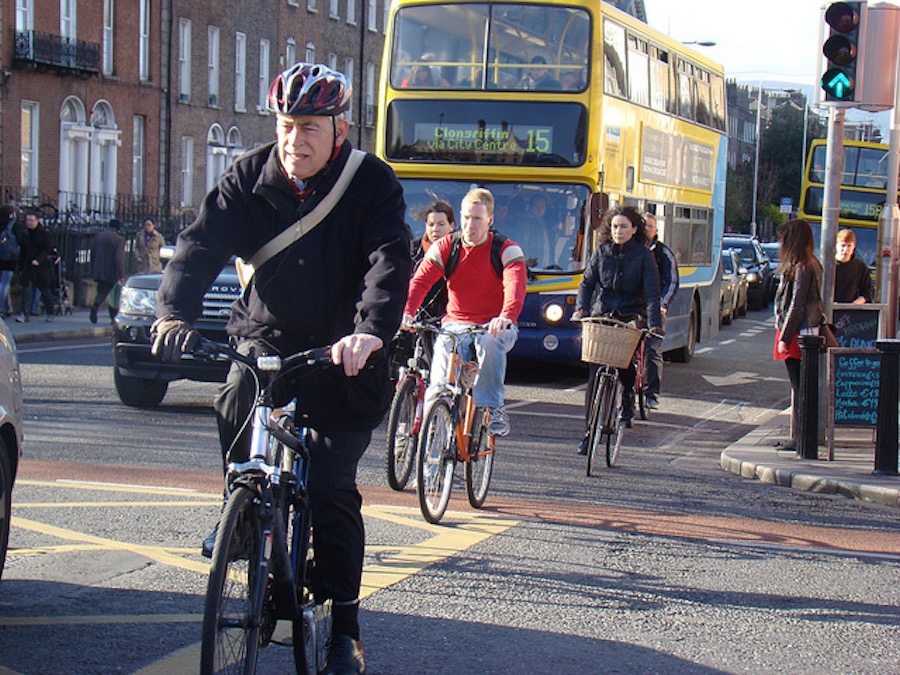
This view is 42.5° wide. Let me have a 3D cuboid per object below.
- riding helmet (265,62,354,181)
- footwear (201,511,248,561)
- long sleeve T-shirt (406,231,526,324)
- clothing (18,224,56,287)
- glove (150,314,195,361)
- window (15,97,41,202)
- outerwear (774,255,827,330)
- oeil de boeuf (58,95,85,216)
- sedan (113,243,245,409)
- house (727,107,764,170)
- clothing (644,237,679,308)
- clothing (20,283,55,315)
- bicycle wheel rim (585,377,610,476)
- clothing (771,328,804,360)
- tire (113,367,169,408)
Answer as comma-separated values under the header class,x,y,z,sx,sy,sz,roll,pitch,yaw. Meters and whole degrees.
class,x,y,z,sx,sy,sz,roll,pitch,yaw
riding helmet,-0.584,-0.911,4.855,0.339,0.474,0.472,2,9,11
footwear,-0.902,0.769,4.459,0.105,0.229,0.306,0,-10,17
long sleeve T-shirt,0.230,-0.421,8.799,0.845,0.870,0.674,1,2,25
clothing,-8.275,-1.629,22.996,0.691,1.233,0.418,3,4,11
glove,-1.135,-0.001,4.664,0.181,0.084,0.146,6,34,13
window,-11.606,-5.214,31.849,0.293,2.548,0.932,3,4,6
outerwear,3.395,-0.391,11.512,0.520,0.889,0.866,3,8,29
oeil de boeuf,-11.045,-5.402,33.771,0.525,3.175,1.394,2,4,0
sedan,-2.916,-0.061,12.308,1.459,1.285,2.491,3,-2,4
house,31.141,-21.595,123.836,2.554,7.320,21.238,4,4,15
clothing,2.670,-0.838,14.241,0.362,1.024,0.746,3,-2,-4
clothing,-8.398,-0.801,23.396,0.517,0.673,0.252,8,42,-11
bicycle wheel rim,1.325,0.776,10.361,0.157,0.869,0.593,3,4,14
clothing,3.421,0.061,11.700,0.249,0.370,0.275,-1,3,43
tire,-3.304,0.518,12.298,0.138,0.430,0.402,-1,3,27
